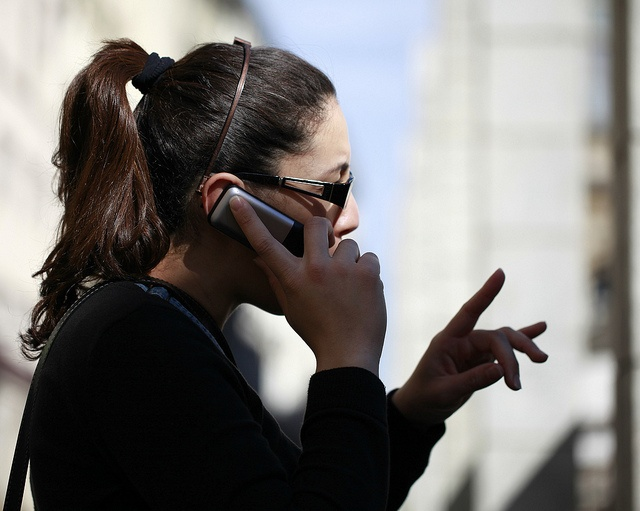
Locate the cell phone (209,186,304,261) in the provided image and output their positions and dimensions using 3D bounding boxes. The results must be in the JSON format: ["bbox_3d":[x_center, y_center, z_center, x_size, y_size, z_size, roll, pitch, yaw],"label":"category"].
[{"bbox_3d":[-0.131,-0.066,2.400,0.228,0.057,0.121,28,90,-25],"label":"cell phone"}]
